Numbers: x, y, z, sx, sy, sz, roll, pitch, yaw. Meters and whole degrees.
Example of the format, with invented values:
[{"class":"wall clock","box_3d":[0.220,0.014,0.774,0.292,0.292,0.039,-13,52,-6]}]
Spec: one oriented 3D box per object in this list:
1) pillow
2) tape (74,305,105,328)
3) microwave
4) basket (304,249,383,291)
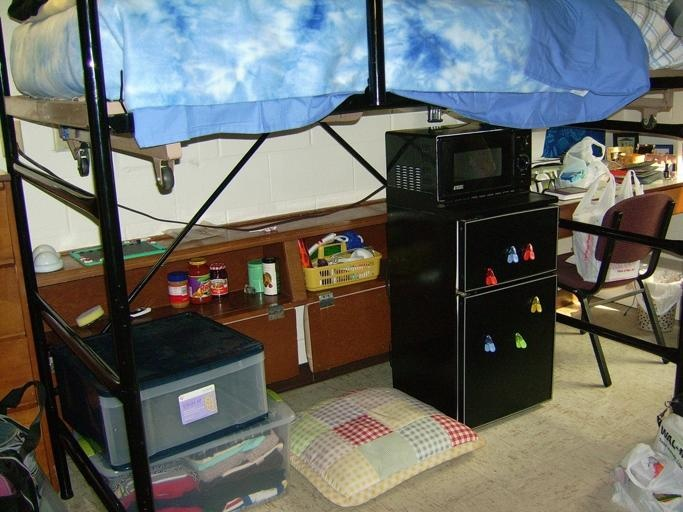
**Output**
[{"class":"pillow","box_3d":[0.164,0.886,2.511,0.546,0.123,0.532,-12,20,-31]},{"class":"tape","box_3d":[-1.308,0.308,2.701,0.095,0.031,0.134,11,34,39]},{"class":"microwave","box_3d":[0.598,-0.481,2.742,0.697,0.343,0.476,-13,19,-37]},{"class":"basket","box_3d":[0.021,0.096,3.155,0.394,0.130,0.247,-14,19,-26]}]
